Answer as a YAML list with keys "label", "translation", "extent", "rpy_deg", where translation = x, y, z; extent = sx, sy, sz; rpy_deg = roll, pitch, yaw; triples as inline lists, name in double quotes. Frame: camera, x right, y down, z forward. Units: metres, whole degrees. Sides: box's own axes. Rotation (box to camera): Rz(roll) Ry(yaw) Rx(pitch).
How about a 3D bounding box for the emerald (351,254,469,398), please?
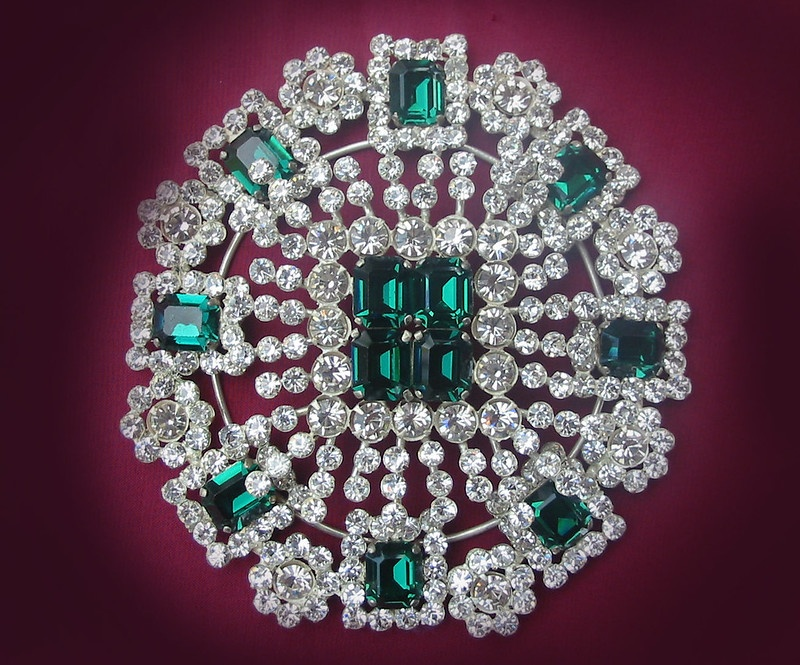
- label: "emerald"
  translation: [0.025, -0.027, 3.080]
  extent: [0.275, 0.107, 0.354]
  rpy_deg: [1, 93, -1]

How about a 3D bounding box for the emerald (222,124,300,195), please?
- label: "emerald"
  translation: [-0.358, -0.436, 3.126]
  extent: [0.155, 0.080, 0.180]
  rpy_deg: [-42, 92, 3]

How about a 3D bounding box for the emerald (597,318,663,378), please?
- label: "emerald"
  translation: [0.573, 0.039, 3.031]
  extent: [0.156, 0.043, 0.147]
  rpy_deg: [3, 84, 3]

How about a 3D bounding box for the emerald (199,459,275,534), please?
- label: "emerald"
  translation: [-0.410, 0.415, 3.045]
  extent: [0.170, 0.045, 0.149]
  rpy_deg: [-32, 84, -1]

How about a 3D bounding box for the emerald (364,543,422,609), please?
- label: "emerald"
  translation: [-0.018, 0.606, 3.022]
  extent: [0.151, 0.042, 0.162]
  rpy_deg: [-2, 84, 2]

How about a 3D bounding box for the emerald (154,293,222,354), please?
- label: "emerald"
  translation: [-0.540, -0.025, 3.046]
  extent: [0.168, 0.047, 0.141]
  rpy_deg: [1, 84, 2]

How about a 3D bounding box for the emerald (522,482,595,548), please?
- label: "emerald"
  translation: [0.395, 0.462, 3.067]
  extent: [0.152, 0.105, 0.169]
  rpy_deg: [-34, 84, -1]

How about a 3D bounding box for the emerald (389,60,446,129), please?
- label: "emerald"
  translation: [0.037, -0.593, 3.019]
  extent: [0.126, 0.072, 0.160]
  rpy_deg: [-2, 91, -4]
